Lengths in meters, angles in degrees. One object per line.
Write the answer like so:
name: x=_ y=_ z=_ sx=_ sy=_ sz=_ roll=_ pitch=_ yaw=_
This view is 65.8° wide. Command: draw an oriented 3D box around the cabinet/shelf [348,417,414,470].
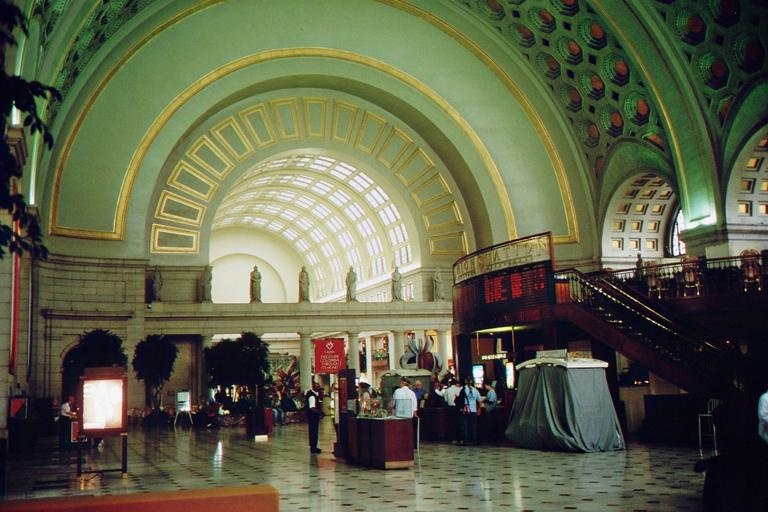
cabinet/shelf: x=-0.178 y=4.203 z=13.575 sx=0.864 sy=1.042 sz=1.620 roll=9 pitch=-16 yaw=-40

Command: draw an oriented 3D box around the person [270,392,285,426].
person: x=-5.017 y=7.119 z=27.945 sx=0.588 sy=1.429 sz=2.242 roll=-1 pitch=-11 yaw=-10

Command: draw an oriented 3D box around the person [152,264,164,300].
person: x=-11.989 y=1.430 z=31.289 sx=0.474 sy=2.003 sz=1.030 roll=2 pitch=-11 yaw=-22

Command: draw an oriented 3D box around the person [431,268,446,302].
person: x=3.317 y=1.758 z=36.278 sx=0.776 sy=1.852 sz=0.727 roll=-4 pitch=-11 yaw=5

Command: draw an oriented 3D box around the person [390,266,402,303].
person: x=0.717 y=1.638 z=36.147 sx=0.454 sy=2.113 sz=0.692 roll=-4 pitch=-11 yaw=5

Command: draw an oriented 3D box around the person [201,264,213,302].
person: x=-9.673 y=1.494 z=32.186 sx=0.438 sy=2.067 sz=0.838 roll=3 pitch=-12 yaw=-27
